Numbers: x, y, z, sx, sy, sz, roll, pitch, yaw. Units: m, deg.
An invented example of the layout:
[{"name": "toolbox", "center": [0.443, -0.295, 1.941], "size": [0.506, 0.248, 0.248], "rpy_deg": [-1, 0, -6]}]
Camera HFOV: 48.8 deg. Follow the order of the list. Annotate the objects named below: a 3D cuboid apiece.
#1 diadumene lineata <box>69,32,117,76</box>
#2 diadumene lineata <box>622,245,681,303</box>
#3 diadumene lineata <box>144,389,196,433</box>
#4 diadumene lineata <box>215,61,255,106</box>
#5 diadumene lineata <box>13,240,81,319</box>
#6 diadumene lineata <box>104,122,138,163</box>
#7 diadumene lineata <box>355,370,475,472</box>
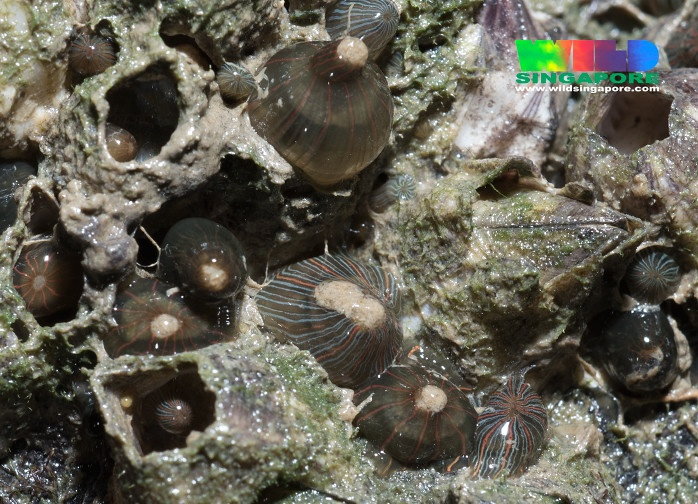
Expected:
[{"name": "diadumene lineata", "center": [-1.381, -1.044, 4.187], "size": [0.316, 0.105, 0.331], "rpy_deg": [-27, 33, -15]}, {"name": "diadumene lineata", "center": [1.829, 0.106, 4.594], "size": [0.332, 0.387, 0.103], "rpy_deg": [25, 46, 19]}, {"name": "diadumene lineata", "center": [-0.915, 0.818, 3.974], "size": [0.194, 0.058, 0.172], "rpy_deg": [34, 97, 6]}, {"name": "diadumene lineata", "center": [-0.619, -0.905, 4.211], "size": [0.234, 0.116, 0.273], "rpy_deg": [-3, 41, -13]}, {"name": "diadumene lineata", "center": [-1.585, 0.125, 4.078], "size": [0.343, 0.167, 0.370], "rpy_deg": [-9, 76, 3]}, {"name": "diadumene lineata", "center": [-1.184, -0.557, 3.996], "size": [0.153, 0.108, 0.200], "rpy_deg": [-13, 73, -50]}, {"name": "diadumene lineata", "center": [0.351, 0.912, 4.243], "size": [0.495, 0.222, 0.579], "rpy_deg": [18, 60, -14]}]
